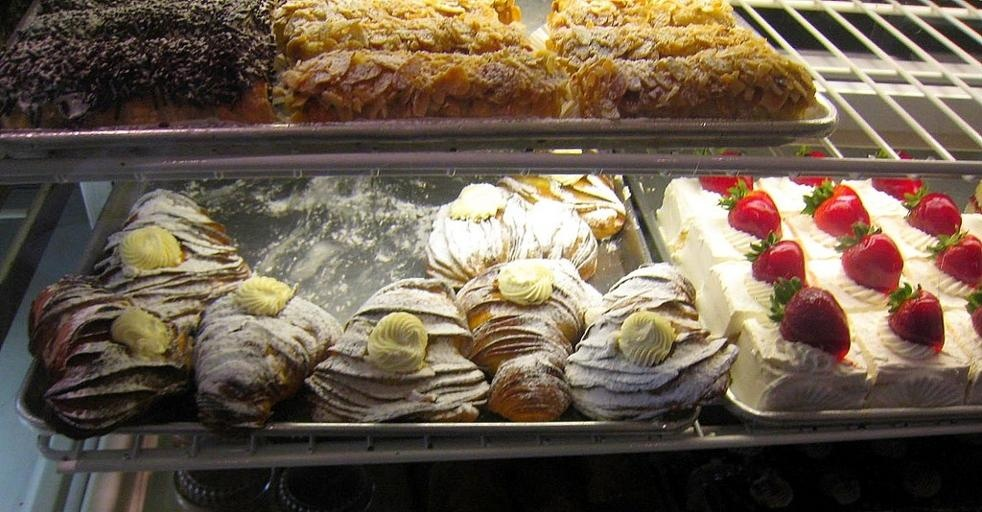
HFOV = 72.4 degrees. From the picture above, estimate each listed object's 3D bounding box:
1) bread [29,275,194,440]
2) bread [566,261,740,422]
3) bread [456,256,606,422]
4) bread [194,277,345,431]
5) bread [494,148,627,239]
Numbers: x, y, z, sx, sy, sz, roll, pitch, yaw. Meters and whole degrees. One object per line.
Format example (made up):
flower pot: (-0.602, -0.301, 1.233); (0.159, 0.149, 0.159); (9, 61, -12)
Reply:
bread: (-1.246, 0.313, 2.136); (0.546, 0.394, 0.340); (6, 24, 14)
bread: (0.567, 0.251, 2.391); (0.578, 0.253, 0.722); (-6, 32, 15)
bread: (0.131, 0.276, 2.261); (0.546, 0.212, 0.508); (-3, 64, -5)
bread: (-0.791, 0.287, 2.244); (0.448, 0.198, 0.537); (27, 37, -17)
bread: (0.328, -0.227, 2.647); (0.368, 0.098, 0.336); (19, 34, 10)
